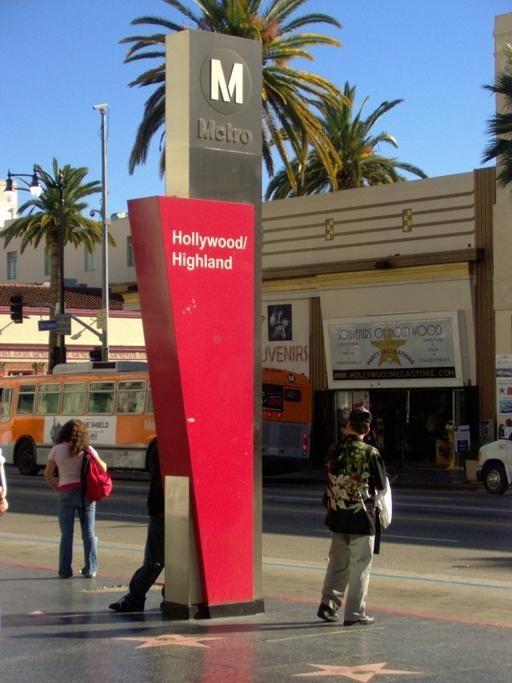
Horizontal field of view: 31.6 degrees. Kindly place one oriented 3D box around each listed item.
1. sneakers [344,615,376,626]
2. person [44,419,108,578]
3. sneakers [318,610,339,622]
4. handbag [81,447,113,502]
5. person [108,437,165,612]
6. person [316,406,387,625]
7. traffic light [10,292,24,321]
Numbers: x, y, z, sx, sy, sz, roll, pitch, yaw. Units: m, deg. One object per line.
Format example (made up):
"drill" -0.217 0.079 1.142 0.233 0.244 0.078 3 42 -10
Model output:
"sneakers" 0.741 1.992 6.480 0.228 0.106 0.080 2 8 -6
"person" -1.814 1.605 9.167 0.636 1.617 0.795 0 -2 -14
"sneakers" 0.509 1.979 6.546 0.065 0.085 0.168 -6 -18 22
"handbag" -1.606 1.371 9.104 0.260 0.492 0.323 -1 11 -21
"person" -0.879 1.431 6.919 0.436 1.255 0.357 0 -2 12
"person" 0.699 1.292 6.670 0.536 1.585 0.541 0 -2 -12
"traffic light" -9.759 -1.392 36.856 0.441 0.933 1.300 0 -2 -19
